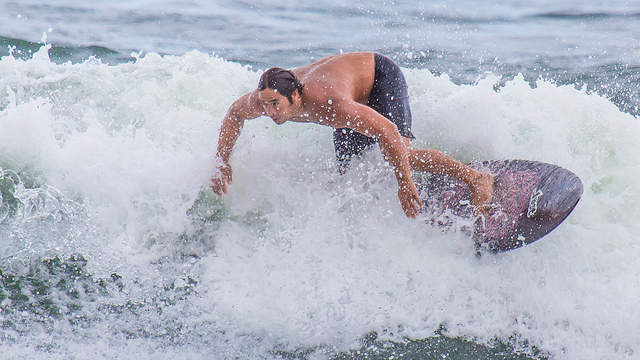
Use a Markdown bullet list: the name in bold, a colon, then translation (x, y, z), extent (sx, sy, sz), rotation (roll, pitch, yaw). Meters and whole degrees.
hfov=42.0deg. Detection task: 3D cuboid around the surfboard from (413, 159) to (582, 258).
- **surfboard**: translation (1.755, 0.276, 9.049), extent (0.319, 2.187, 0.966), rotation (13, 73, -41)
